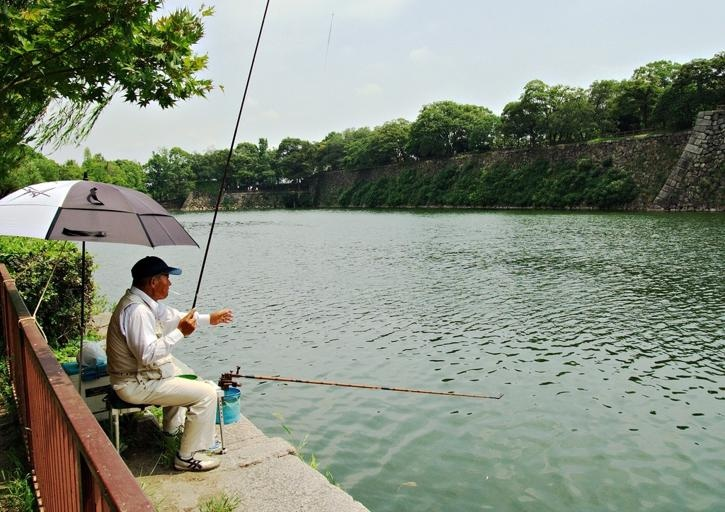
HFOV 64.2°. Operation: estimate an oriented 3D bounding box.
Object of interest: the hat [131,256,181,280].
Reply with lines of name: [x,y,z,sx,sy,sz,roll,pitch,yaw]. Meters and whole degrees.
hat: [-2.157,0.126,6.099,0.452,0.158,0.283,-6,8,-25]
